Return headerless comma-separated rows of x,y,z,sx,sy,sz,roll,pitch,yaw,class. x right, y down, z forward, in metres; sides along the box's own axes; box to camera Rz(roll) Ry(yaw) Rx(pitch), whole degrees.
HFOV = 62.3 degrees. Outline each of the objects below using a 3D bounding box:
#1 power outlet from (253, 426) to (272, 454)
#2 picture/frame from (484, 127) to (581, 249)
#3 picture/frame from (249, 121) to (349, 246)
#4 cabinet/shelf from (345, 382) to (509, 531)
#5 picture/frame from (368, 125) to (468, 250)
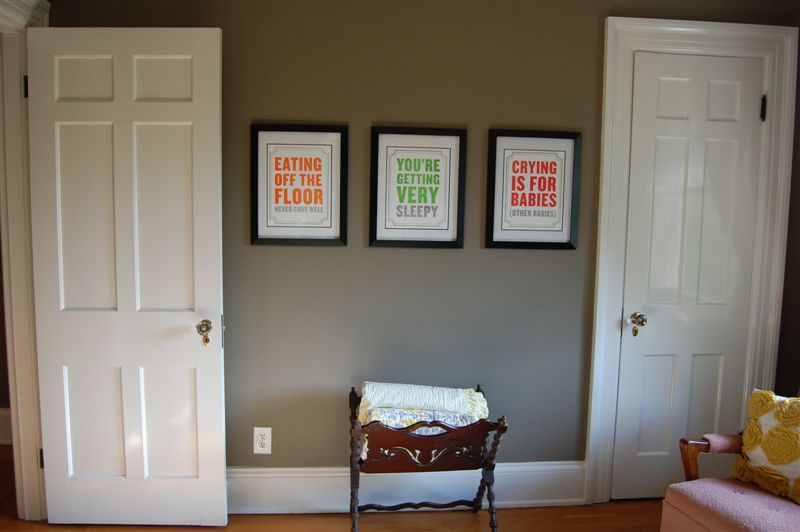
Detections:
-0.879,1.109,4.236,0.155,0.226,0.023,1,0,-4,power outlet
0.826,-0.536,4.231,0.683,0.932,0.068,2,5,-6,picture/frame
-0.653,-0.553,4.149,0.709,0.955,0.044,0,4,1,picture/frame
0.148,1.004,4.146,1.030,1.079,0.793,0,-3,-3,cabinet/shelf
0.090,-0.535,4.189,0.695,0.917,0.050,2,4,-4,picture/frame
